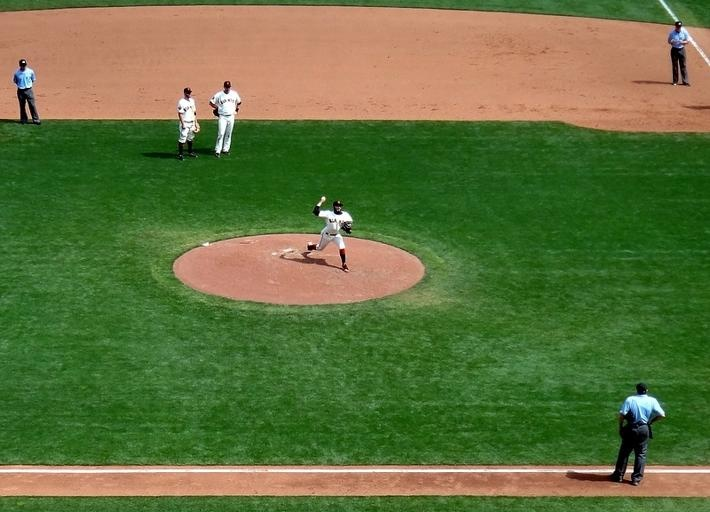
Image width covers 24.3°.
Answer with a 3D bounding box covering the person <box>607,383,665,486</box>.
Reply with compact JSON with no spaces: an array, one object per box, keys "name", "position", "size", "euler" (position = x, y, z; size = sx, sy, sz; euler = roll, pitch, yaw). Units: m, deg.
[{"name":"person","position":[7.211,4.429,41.834],"size":[1.080,2.510,1.221],"euler":[7,17,9]}]
